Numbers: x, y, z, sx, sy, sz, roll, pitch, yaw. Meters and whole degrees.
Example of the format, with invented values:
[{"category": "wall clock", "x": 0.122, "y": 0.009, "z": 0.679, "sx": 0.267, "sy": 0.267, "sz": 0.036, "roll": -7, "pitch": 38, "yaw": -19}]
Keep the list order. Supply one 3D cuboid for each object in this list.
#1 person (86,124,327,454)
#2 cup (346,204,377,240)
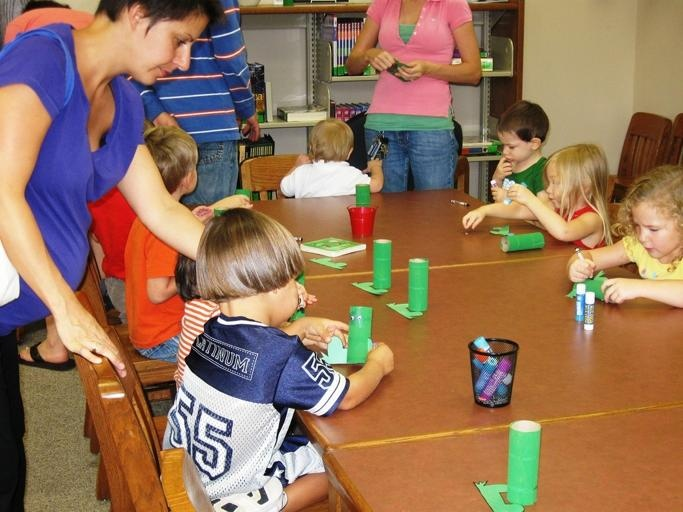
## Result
[{"category": "person", "x": -0.599, "y": -0.193, "z": 2.685, "sx": 0.998, "sy": 2.018, "sz": 0.771, "roll": -15, "pitch": 29, "yaw": -24}, {"category": "cup", "x": 0.080, "y": -0.137, "z": 2.261, "sx": 0.117, "sy": 0.113, "sz": 0.127, "roll": -1, "pitch": 8, "yaw": 0}]
